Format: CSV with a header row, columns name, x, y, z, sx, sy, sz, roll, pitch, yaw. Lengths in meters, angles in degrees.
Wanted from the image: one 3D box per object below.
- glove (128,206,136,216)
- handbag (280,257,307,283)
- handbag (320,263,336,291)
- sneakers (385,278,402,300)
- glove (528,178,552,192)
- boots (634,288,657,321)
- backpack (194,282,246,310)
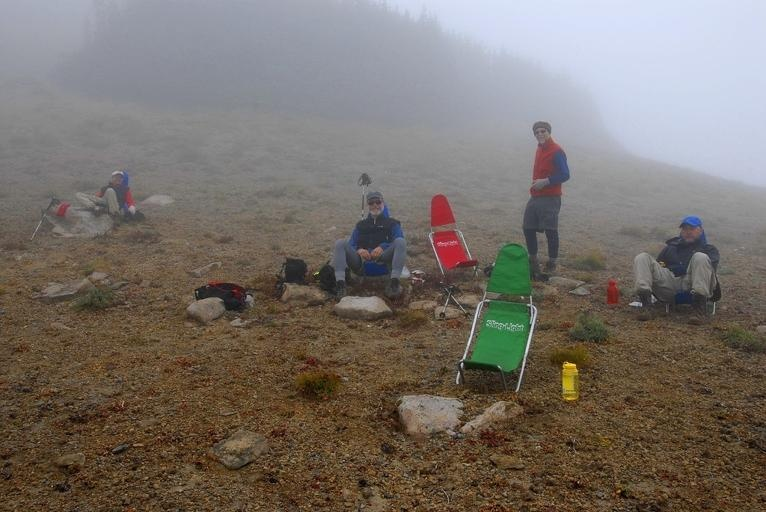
name,x,y,z,sx,sy,sz,roll,pitch,yaw
glove,-7.541,-1.384,17.358,0.159,0.263,0.306,5,18,0
handbag,-1.925,0.345,12.492,0.575,0.463,0.728,2,18,-9
handbag,-1.189,0.484,12.405,0.352,0.478,0.503,2,18,-9
sneakers,0.212,0.726,12.161,0.244,0.496,0.221,-2,-11,7
glove,3.724,-1.679,13.582,0.234,0.375,0.433,-7,21,-32
boots,5.166,0.879,11.271,0.407,0.505,1.019,13,19,24
backpack,-3.221,0.810,11.524,0.995,0.403,0.611,1,18,-10
